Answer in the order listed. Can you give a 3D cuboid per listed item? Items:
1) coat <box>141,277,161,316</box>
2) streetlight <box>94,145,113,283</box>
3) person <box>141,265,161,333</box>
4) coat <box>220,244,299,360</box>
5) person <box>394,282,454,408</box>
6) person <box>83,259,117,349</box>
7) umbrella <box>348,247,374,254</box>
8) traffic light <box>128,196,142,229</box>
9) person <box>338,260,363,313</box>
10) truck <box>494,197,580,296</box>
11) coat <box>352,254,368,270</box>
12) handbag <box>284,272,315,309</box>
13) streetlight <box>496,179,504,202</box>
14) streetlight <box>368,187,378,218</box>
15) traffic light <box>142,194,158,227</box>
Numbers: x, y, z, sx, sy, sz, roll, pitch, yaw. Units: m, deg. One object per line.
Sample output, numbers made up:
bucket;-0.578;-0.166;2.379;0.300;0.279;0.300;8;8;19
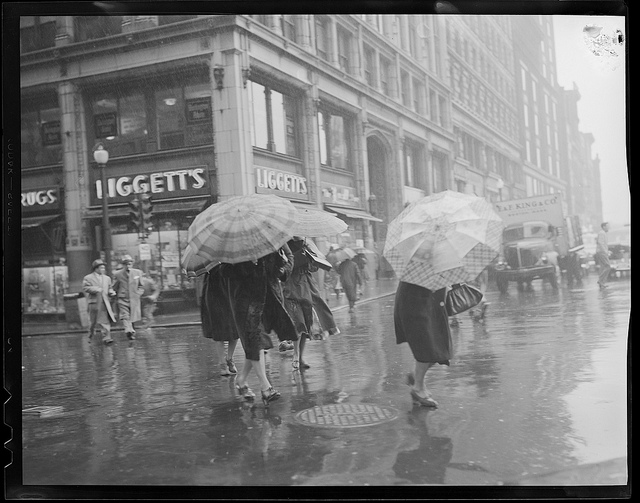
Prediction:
coat;-2.660;0.679;9.766;0.149;0.591;0.496;0;-6;-43
streetlight;-3.306;-0.688;9.651;0.188;1.797;0.212;0;5;-37
person;-2.603;0.714;9.700;0.288;1.041;0.627;-2;-5;-25
coat;-0.739;0.660;7.754;0.845;1.294;0.289;-4;-4;-9
person;1.215;1.092;7.319;0.688;1.513;0.531;-7;-5;32
person;-3.538;0.823;10.228;0.569;1.367;0.662;0;-6;-45
umbrella;0.606;-0.025;9.531;0.060;0.123;0.465;-1;-6;-39
traffic light;-2.765;-0.597;9.360;0.179;0.488;0.415;-3;-5;-20
person;0.483;0.481;10.040;0.364;0.915;0.283;-4;1;11
truck;3.261;-0.057;9.411;1.156;1.368;1.129;-6;-5;22
coat;0.605;0.140;9.547;0.147;0.346;0.094;13;37;25
handbag;-0.291;0.542;9.032;0.518;0.481;0.163;0;-12;-31
streetlight;2.646;-0.915;9.258;0.132;0.318;0.081;-3;-5;-24
streetlight;0.797;-0.733;9.444;0.126;0.405;0.095;-5;-4;4
traffic light;-2.548;-0.625;9.392;0.186;0.512;0.227;-3;-4;-16
